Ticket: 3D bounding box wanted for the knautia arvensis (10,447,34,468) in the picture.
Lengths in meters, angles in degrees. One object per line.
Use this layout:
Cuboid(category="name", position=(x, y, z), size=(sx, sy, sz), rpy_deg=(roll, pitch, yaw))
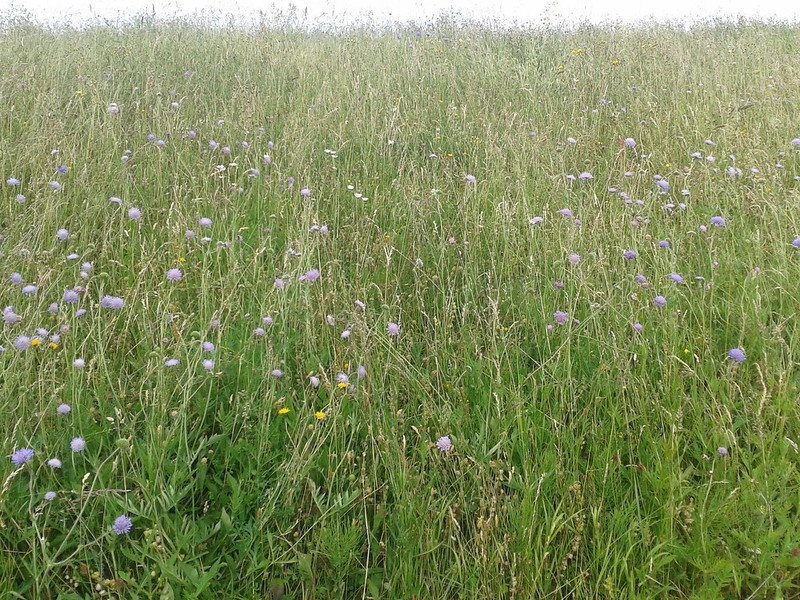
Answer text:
Cuboid(category="knautia arvensis", position=(-1.846, 0.768, 3.332), size=(0.069, 0.080, 0.076), rpy_deg=(20, 15, -13))
